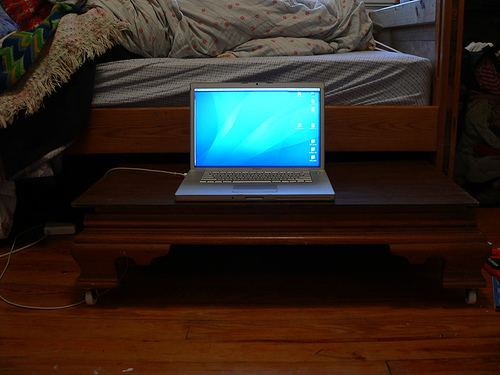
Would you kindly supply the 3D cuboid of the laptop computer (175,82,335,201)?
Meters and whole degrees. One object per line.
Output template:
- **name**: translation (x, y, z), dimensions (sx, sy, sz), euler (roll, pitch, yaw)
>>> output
- **laptop computer**: translation (0.016, -0.135, 1.413), dimensions (0.531, 0.244, 0.280), euler (-2, 35, 5)

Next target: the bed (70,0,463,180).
- **bed**: translation (0.113, -0.400, 1.974), dimensions (1.308, 0.505, 1.055), euler (-1, 13, -5)
